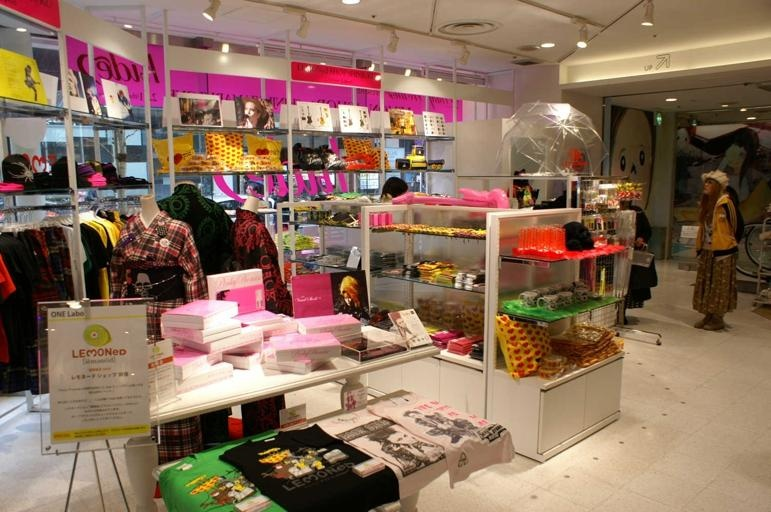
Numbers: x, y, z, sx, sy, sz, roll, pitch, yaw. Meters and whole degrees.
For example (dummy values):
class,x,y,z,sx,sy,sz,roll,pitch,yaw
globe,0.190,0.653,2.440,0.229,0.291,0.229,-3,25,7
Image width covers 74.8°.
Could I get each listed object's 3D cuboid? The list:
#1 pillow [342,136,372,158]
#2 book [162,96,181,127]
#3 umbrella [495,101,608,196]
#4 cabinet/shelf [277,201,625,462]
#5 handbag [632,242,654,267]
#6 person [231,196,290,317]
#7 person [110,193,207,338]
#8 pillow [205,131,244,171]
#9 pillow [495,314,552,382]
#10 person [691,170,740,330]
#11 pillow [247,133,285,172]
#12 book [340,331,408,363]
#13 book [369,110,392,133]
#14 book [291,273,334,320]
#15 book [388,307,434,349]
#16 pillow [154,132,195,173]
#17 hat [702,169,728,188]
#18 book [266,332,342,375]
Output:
class,x,y,z,sx,sy,sz,roll,pitch,yaw
pillow,-0.469,-1.839,8.431,0.485,0.407,0.143,-8,-18,-32
book,-2.753,-1.858,6.474,0.188,0.375,0.295,1,15,8
umbrella,2.008,-1.256,5.882,1.193,1.066,0.431,19,-3,-5
cabinet/shelf,0.689,0.523,5.866,1.403,2.083,3.503,-5,7,-39
handbag,3.670,-0.021,7.230,0.213,0.466,0.532,3,4,36
person,-1.012,0.048,4.163,0.434,1.009,0.681,-7,16,-21
person,-1.698,0.006,3.734,0.676,0.887,0.256,1,15,7
pillow,-2.174,-1.435,6.915,0.501,0.516,0.328,-7,16,-22
pillow,1.268,0.837,4.612,0.593,0.533,0.211,-15,-8,-25
person,4.983,-0.073,7.551,0.547,2.346,0.635,0,15,3
pillow,-1.735,-1.483,7.254,0.669,0.595,0.235,-5,-4,-40
book,-0.112,0.583,3.449,0.231,0.052,0.254,10,14,42
book,-0.087,-2.278,8.564,0.492,0.425,0.251,-6,7,-43
book,-0.537,0.289,3.702,0.374,0.296,0.080,-2,1,-15
book,0.185,0.518,3.609,0.288,0.272,0.065,-23,-13,-37
pillow,-2.730,-1.343,6.565,0.472,0.485,0.228,-7,16,-22
hat,4.943,-1.141,7.498,0.283,0.243,0.352,-4,14,-11
book,-0.525,0.619,3.271,0.363,0.095,0.262,-7,14,-30
